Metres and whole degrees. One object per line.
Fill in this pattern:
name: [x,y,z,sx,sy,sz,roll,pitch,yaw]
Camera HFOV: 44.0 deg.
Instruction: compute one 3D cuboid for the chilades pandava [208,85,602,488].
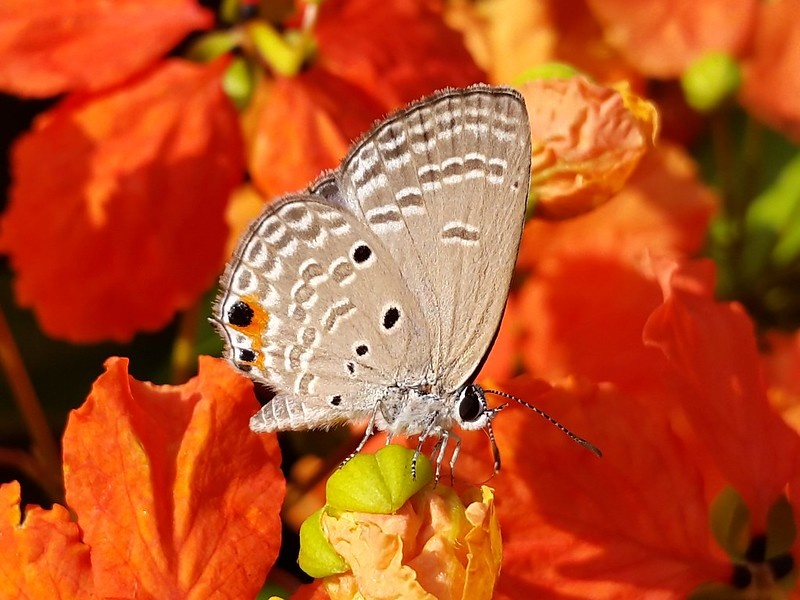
chilades pandava: [0.009,-0.004,0.653,0.225,0.222,0.222,9,91,10]
